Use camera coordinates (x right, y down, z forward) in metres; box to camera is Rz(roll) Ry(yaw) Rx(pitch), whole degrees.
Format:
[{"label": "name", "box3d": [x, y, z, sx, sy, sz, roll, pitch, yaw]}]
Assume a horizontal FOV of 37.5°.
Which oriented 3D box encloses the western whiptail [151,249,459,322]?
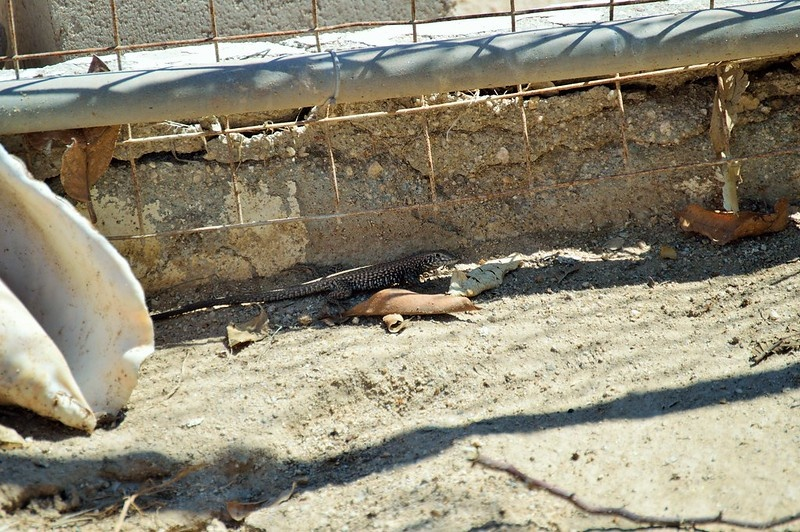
[{"label": "western whiptail", "box3d": [-1.028, 0.223, 11.895, 1.715, 0.382, 0.194, -12, 43, -6]}]
